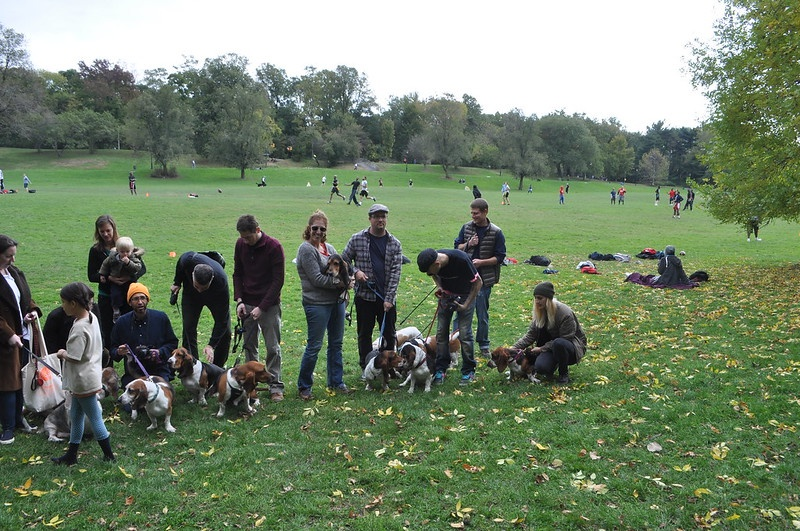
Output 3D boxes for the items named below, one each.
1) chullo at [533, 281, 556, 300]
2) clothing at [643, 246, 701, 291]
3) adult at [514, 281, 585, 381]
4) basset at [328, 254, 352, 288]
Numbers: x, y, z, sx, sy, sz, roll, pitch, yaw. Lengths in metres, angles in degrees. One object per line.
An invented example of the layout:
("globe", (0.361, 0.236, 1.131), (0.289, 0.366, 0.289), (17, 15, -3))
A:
("chullo", (3.549, 0.600, 18.767), (0.492, 0.396, 0.386), (4, 3, 4))
("clothing", (9.640, 0.188, 26.691), (1.702, 1.074, 1.495), (-3, 10, 10))
("adult", (3.745, 1.628, 18.751), (1.555, 2.415, 0.750), (0, 15, 10))
("basset", (-1.451, 0.143, 18.135), (0.580, 0.824, 0.315), (-5, 15, -11))
